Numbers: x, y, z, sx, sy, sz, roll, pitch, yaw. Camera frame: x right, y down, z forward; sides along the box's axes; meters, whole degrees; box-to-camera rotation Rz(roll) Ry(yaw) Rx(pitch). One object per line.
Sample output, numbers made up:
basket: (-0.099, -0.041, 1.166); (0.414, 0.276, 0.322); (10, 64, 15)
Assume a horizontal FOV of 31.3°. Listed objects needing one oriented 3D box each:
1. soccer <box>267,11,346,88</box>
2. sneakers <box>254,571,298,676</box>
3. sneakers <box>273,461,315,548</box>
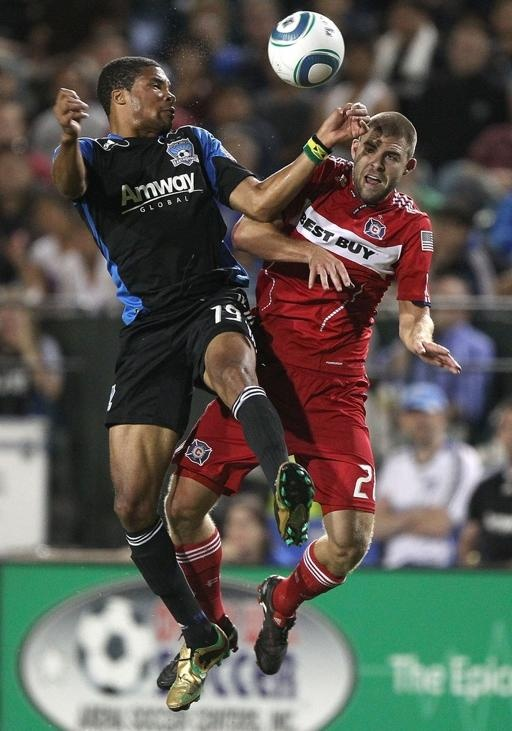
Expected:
soccer: (0.205, -1.182, 3.426); (0.346, 0.270, 0.303); (-5, 18, -5)
sneakers: (0.099, 0.995, 3.609); (0.162, 0.381, 0.220); (-1, 9, -35)
sneakers: (0.117, 0.372, 2.508); (0.109, 0.215, 0.120); (3, -7, -25)
